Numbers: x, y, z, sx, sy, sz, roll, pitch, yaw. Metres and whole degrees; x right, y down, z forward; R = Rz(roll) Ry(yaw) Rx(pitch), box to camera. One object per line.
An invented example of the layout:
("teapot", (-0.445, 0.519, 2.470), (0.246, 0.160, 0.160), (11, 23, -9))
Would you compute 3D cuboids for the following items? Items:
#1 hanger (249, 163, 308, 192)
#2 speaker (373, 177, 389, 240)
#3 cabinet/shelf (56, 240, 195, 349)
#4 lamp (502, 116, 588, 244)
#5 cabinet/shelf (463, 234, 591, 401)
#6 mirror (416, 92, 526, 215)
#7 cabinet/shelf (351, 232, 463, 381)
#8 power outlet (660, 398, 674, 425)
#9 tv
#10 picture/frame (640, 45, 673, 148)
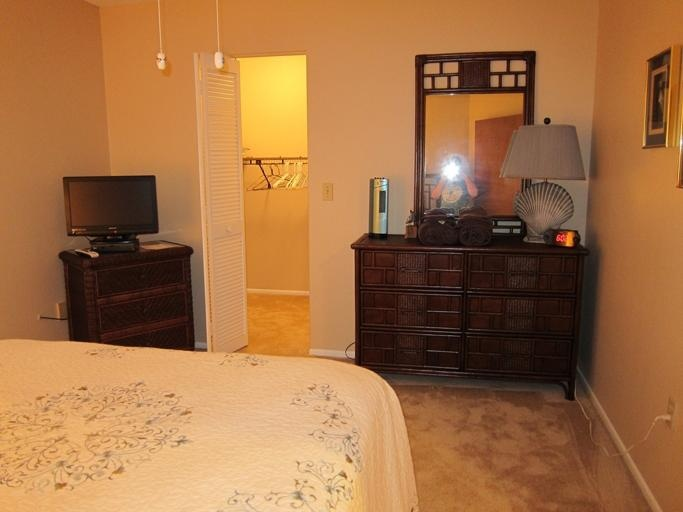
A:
("hanger", (-0.668, -0.888, 5.969), (0.826, 0.298, 0.259), (-1, 19, 3))
("speaker", (0.274, -0.338, 3.762), (0.098, 0.406, 0.050), (-1, 11, -13))
("cabinet/shelf", (-1.523, 0.331, 3.916), (0.888, 0.782, 0.425), (-6, 12, -34))
("lamp", (1.318, -0.478, 3.503), (0.505, 0.791, 0.301), (4, 11, 12))
("cabinet/shelf", (1.200, 0.393, 3.458), (1.053, 0.917, 0.402), (2, 6, 15))
("mirror", (0.951, -0.765, 3.779), (0.919, 1.098, 0.044), (0, 4, 7))
("cabinet/shelf", (0.538, 0.364, 3.777), (0.832, 0.848, 0.482), (1, 1, 18))
("power outlet", (1.522, 0.728, 2.465), (0.050, 0.139, 0.140), (3, 8, 24))
("tv", (-1.666, -0.340, 3.804), (0.477, 0.392, 0.216), (-1, 16, -12))
("picture/frame", (1.542, -0.764, 2.584), (0.086, 0.461, 0.422), (6, 11, 22))
